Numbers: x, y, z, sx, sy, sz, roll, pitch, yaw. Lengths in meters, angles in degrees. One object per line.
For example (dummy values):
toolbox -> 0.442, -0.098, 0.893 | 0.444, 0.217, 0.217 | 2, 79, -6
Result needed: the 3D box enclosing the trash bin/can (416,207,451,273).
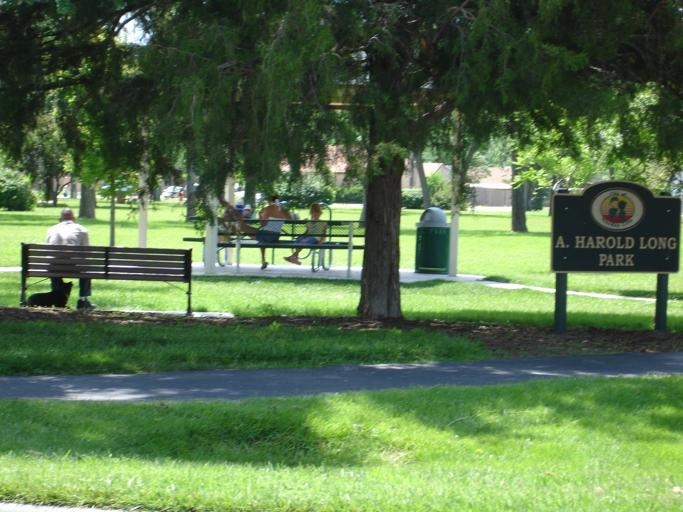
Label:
trash bin/can -> 1.845, -0.275, 29.425 | 0.666, 1.330, 0.903 | 2, 14, 2
